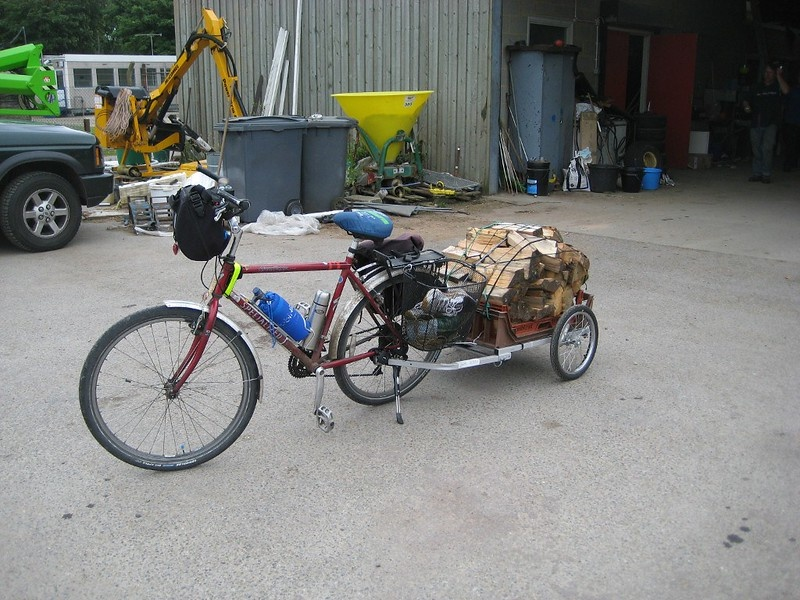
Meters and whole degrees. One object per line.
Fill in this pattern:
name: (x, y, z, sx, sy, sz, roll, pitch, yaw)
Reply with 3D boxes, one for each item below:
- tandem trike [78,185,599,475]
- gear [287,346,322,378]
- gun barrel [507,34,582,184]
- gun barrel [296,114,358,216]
tandem trike: (-0.124, -0.262, 4.659, 4.018, 2.084, 1.503, -8, 17, -32)
gear: (-0.613, 0.387, 3.880, 0.139, 0.153, 0.046, -38, 15, 19)
gun barrel: (2.866, -3.830, 12.809, 1.386, 3.456, 2.174, 11, 20, 39)
gun barrel: (-1.155, -2.313, 10.270, 1.035, 1.984, 1.308, 4, 21, -1)
